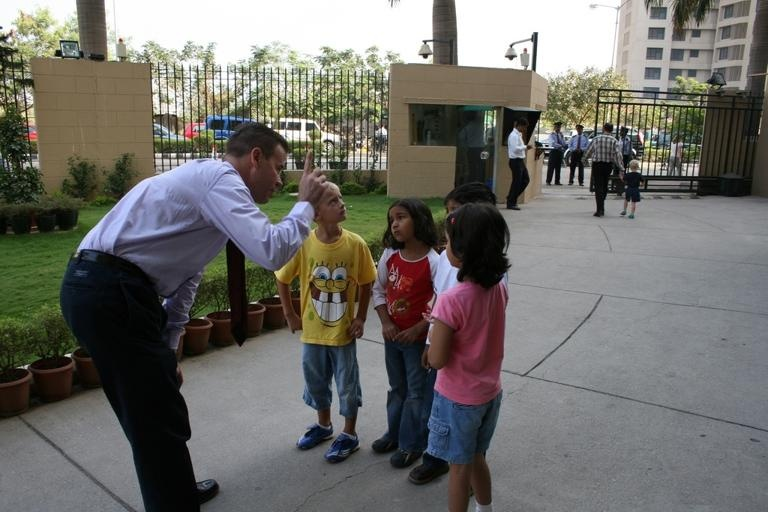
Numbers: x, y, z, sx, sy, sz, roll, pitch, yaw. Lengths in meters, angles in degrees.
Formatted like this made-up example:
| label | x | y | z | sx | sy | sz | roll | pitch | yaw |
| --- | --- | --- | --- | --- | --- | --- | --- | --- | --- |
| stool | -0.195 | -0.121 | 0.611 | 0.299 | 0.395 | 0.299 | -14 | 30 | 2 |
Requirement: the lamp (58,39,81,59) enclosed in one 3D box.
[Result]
| label | x | y | z | sx | sy | sz | roll | pitch | yaw |
| --- | --- | --- | --- | --- | --- | --- | --- | --- | --- |
| lamp | -8.080 | -5.262 | 12.078 | 0.484 | 0.473 | 0.433 | -9 | 14 | -32 |

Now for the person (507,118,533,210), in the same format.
| label | x | y | z | sx | sy | sz | roll | pitch | yaw |
| --- | --- | --- | --- | --- | --- | --- | --- | --- | --- |
| person | 3.478 | -2.369 | 12.173 | 0.518 | 2.193 | 1.392 | 2 | 12 | 14 |

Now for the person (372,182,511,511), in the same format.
| label | x | y | z | sx | sy | sz | roll | pitch | yaw |
| --- | --- | --- | --- | --- | --- | --- | --- | --- | --- |
| person | 0.324 | 0.450 | 3.207 | 0.795 | 1.832 | 1.001 | 2 | 12 | 15 |

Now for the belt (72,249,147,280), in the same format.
| label | x | y | z | sx | sy | sz | roll | pitch | yaw |
| --- | --- | --- | --- | --- | --- | --- | --- | --- | --- |
| belt | -1.298 | 0.032 | 2.251 | 0.170 | 0.046 | 0.175 | 19 | -1 | 37 |

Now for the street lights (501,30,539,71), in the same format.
| label | x | y | z | sx | sy | sz | roll | pitch | yaw |
| --- | --- | --- | --- | --- | --- | --- | --- | --- | --- |
| street lights | 3.965 | -5.710 | 13.580 | 0.875 | 1.317 | 0.376 | 5 | -4 | 16 |

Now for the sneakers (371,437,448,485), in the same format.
| label | x | y | z | sx | sy | sz | roll | pitch | yaw |
| --- | --- | --- | --- | --- | --- | --- | --- | --- | --- |
| sneakers | 0.233 | 1.372 | 3.080 | 0.206 | 0.120 | 0.325 | 6 | 9 | -35 |

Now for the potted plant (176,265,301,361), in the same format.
| label | x | y | z | sx | sy | sz | roll | pitch | yaw |
| --- | --- | --- | --- | --- | --- | --- | --- | --- | --- |
| potted plant | -1.615 | 0.521 | 4.935 | 0.854 | 0.405 | 0.989 | -12 | 0 | -8 |

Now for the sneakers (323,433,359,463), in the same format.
| label | x | y | z | sx | sy | sz | roll | pitch | yaw |
| --- | --- | --- | --- | --- | --- | --- | --- | --- | --- |
| sneakers | -0.283 | 1.295 | 3.237 | 0.099 | 0.124 | 0.280 | 4 | 0 | 31 |

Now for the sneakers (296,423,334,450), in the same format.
| label | x | y | z | sx | sy | sz | roll | pitch | yaw |
| --- | --- | --- | --- | --- | --- | --- | --- | --- | --- |
| sneakers | -0.489 | 1.258 | 3.348 | 0.259 | 0.116 | 0.110 | -13 | 13 | -32 |

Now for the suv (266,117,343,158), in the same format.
| label | x | y | z | sx | sy | sz | roll | pitch | yaw |
| --- | --- | --- | --- | --- | --- | --- | --- | --- | --- |
| suv | -3.263 | -5.186 | 20.290 | 2.975 | 1.528 | 1.721 | 3 | 16 | 6 |

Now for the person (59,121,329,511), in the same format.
| label | x | y | z | sx | sy | sz | roll | pitch | yaw |
| --- | --- | --- | --- | --- | --- | --- | --- | --- | --- |
| person | -0.993 | 0.430 | 2.462 | 1.142 | 2.165 | 0.663 | -7 | 13 | -26 |

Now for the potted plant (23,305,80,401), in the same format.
| label | x | y | z | sx | sy | sz | roll | pitch | yaw |
| --- | --- | --- | --- | --- | --- | --- | --- | --- | --- |
| potted plant | -2.732 | 0.794 | 3.855 | 0.372 | 0.719 | 0.330 | -4 | -3 | -35 |
